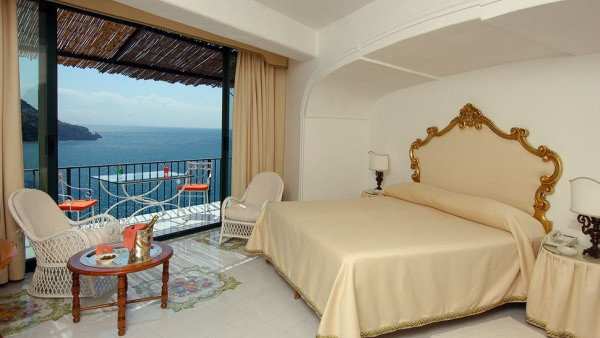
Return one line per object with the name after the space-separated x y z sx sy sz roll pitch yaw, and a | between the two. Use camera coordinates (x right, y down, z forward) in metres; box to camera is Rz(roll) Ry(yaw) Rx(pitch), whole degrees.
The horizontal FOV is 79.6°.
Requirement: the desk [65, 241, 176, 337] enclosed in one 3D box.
-2.293 1.498 4.648 1.226 0.985 0.720 -1 8 -19 | desk

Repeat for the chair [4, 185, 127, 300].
-3.400 0.970 5.509 1.599 1.465 1.427 4 4 -1 | chair

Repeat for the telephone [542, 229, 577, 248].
3.437 0.930 4.770 0.347 0.118 0.248 -8 10 -30 | telephone

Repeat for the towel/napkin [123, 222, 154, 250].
-2.111 0.837 4.714 0.382 0.338 0.310 -5 8 -44 | towel/napkin

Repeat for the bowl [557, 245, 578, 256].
3.351 1.014 4.496 0.153 0.041 0.141 -3 9 0 | bowl

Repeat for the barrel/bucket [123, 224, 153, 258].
-2.047 0.895 4.707 0.424 0.409 0.377 -3 7 -41 | barrel/bucket
